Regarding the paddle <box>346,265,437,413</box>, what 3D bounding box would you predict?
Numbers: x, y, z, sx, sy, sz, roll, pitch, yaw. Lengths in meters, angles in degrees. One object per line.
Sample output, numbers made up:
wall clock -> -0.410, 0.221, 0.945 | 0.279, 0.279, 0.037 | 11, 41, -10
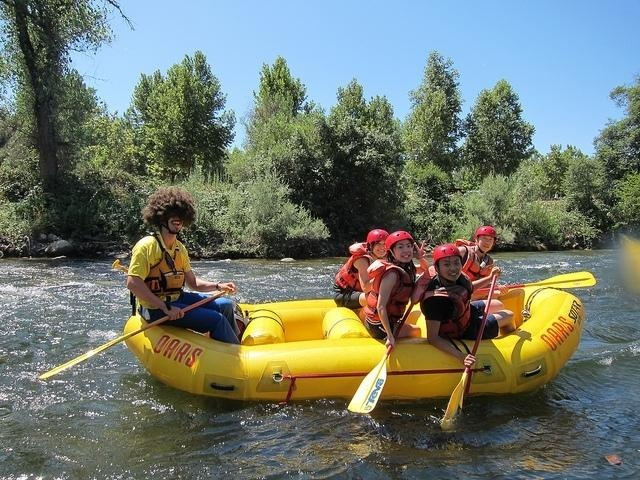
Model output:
paddle -> 0.891, 0.860, 5.725 | 0.405, 0.168, 2.907 | 18, 40, 15

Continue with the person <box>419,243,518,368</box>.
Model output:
person -> 1.653, 0.776, 5.728 | 0.582, 1.043, 0.747 | -13, 33, 22

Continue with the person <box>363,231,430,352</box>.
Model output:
person -> 0.820, 0.609, 5.611 | 0.724, 1.334, 0.763 | -6, 23, -7

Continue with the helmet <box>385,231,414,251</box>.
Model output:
helmet -> 0.859, -0.030, 5.529 | 0.189, 0.274, 0.197 | 0, 10, -11

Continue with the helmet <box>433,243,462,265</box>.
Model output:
helmet -> 1.367, 0.138, 5.453 | 0.278, 0.227, 0.339 | 4, 13, 15

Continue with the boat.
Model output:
boat -> 0.621, 1.302, 5.684 | 3.720, 0.824, 2.217 | 0, -9, -7

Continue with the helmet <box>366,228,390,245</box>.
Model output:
helmet -> 0.695, -0.055, 6.204 | 0.196, 0.132, 0.197 | 4, 5, 30

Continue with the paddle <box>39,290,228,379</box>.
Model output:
paddle -> -2.257, 1.176, 6.135 | 2.314, 0.250, 0.130 | -25, 24, -26
